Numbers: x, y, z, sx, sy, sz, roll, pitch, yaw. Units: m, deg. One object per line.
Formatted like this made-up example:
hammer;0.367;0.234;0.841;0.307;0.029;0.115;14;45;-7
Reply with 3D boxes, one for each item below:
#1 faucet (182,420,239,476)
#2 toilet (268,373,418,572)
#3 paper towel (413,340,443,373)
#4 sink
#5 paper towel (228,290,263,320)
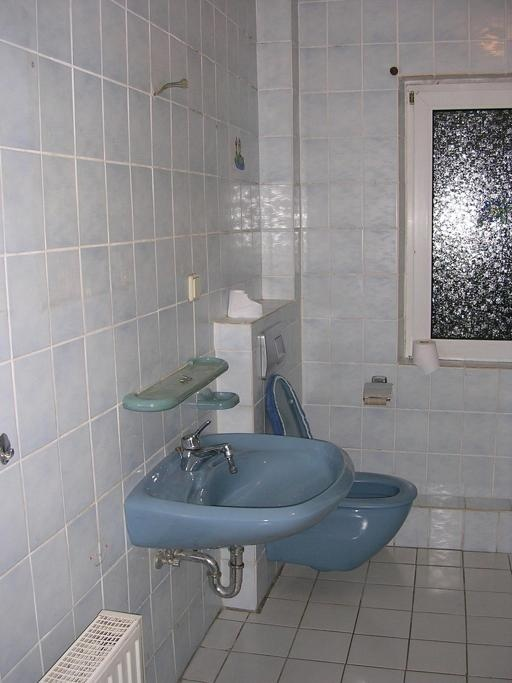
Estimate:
faucet;-0.135;0.276;1.486;0.155;0.135;0.054;-5;8;19
toilet;0.345;0.552;2.355;0.624;0.762;0.471;1;3;17
paper towel;0.808;0.067;2.748;0.109;0.149;0.147;-13;8;32
sink;-0.006;0.353;1.439;0.487;0.178;0.565;0;5;14
paper towel;-0.045;-0.143;2.145;0.110;0.091;0.115;-1;2;4
